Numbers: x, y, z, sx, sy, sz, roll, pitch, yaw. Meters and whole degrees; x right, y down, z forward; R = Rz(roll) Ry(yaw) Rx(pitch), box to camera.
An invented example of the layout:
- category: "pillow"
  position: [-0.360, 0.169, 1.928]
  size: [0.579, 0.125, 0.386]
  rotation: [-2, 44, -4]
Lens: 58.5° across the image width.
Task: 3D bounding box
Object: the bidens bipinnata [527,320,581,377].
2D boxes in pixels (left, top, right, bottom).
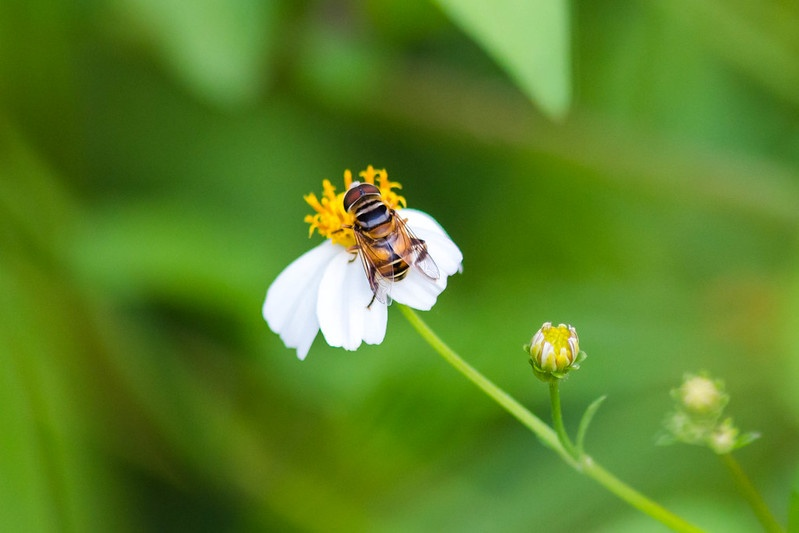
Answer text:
- category: "bidens bipinnata"
  position: [0.350, 0.201, 1.623]
  size: [0.131, 0.141, 0.101]
  rotation: [-14, 17, -42]

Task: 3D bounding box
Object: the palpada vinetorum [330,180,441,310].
- category: "palpada vinetorum"
  position: [-0.022, -0.015, 1.863]
  size: [0.215, 0.099, 0.327]
  rotation: [-19, 75, -6]

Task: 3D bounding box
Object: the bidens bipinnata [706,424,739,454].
- category: "bidens bipinnata"
  position: [0.685, 0.357, 1.505]
  size: [0.052, 0.064, 0.012]
  rotation: [9, -4, 7]

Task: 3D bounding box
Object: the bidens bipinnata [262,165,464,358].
- category: "bidens bipinnata"
  position: [-0.112, -0.018, 1.730]
  size: [0.471, 0.325, 0.346]
  rotation: [-23, 34, -27]
